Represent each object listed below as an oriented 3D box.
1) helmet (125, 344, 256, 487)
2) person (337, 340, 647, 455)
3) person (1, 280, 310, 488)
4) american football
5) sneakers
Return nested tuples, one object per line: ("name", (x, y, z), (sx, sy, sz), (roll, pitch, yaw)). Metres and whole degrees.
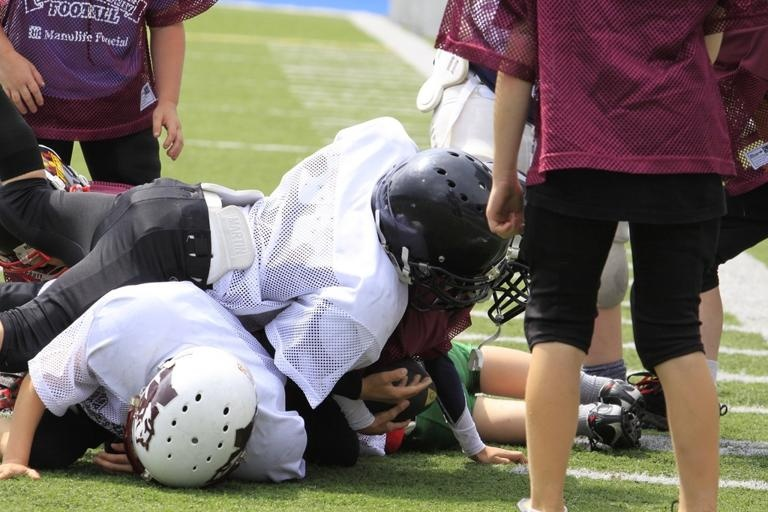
("helmet", (-0.525, 0.438, 2.351), (0.415, 0.307, 0.337), (-38, 3, -10))
("person", (0.460, 0.609, 2.883), (0.882, 0.267, 0.482), (15, -17, 9))
("person", (-0.665, 0.347, 2.398), (0.761, 0.446, 0.608), (7, 17, 17))
("american football", (0.024, 0.453, 2.585), (0.228, 0.141, 0.180), (-26, -35, 12))
("sneakers", (0.867, 0.558, 2.856), (0.269, 0.242, 0.201), (12, 18, 9))
